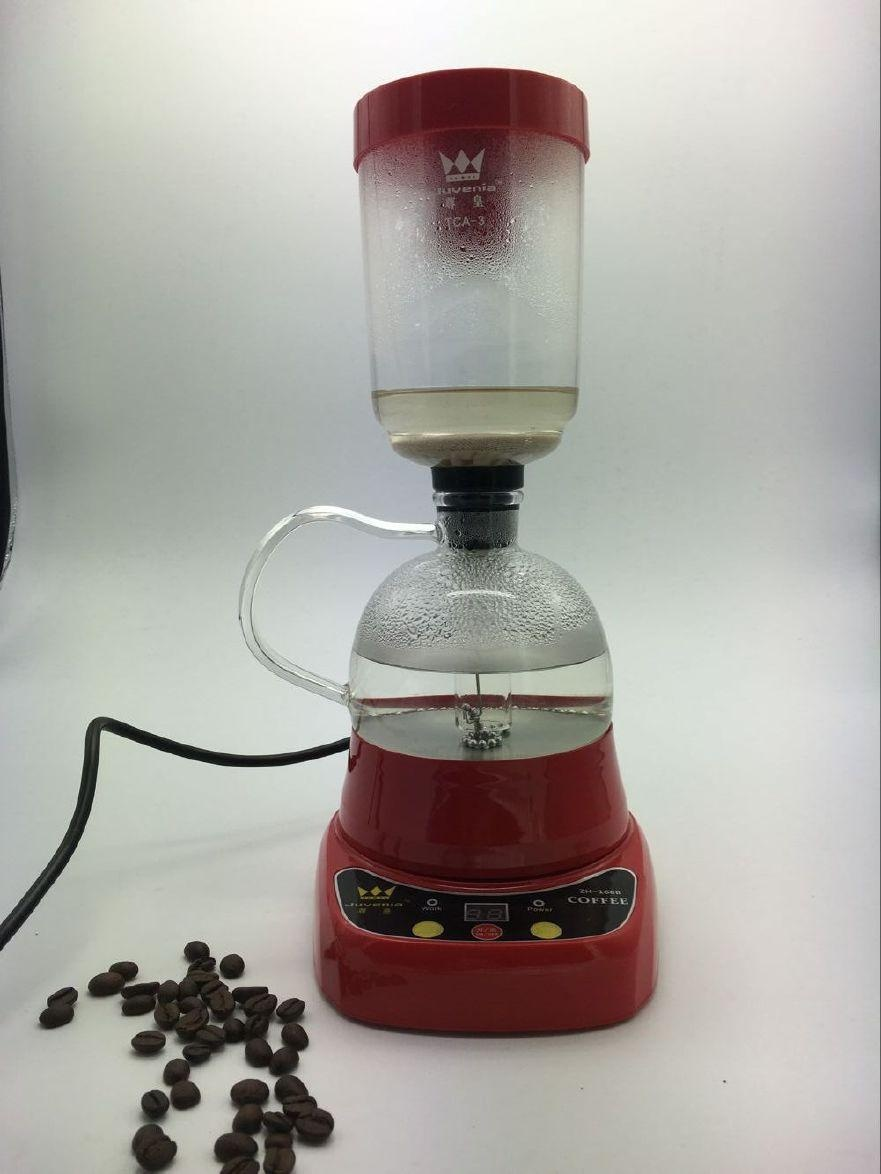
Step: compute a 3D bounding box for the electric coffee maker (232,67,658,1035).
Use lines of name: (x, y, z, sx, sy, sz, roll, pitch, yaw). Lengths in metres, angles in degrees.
electric coffee maker: (0.005, -0.027, 0.810, 0.301, 0.652, 0.271, -3, 7, -7)
